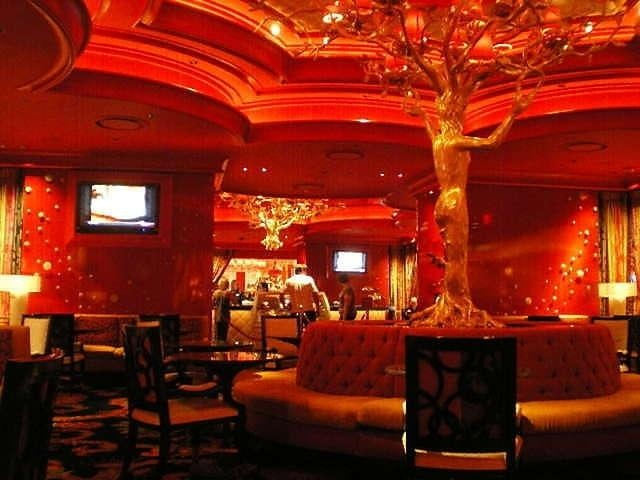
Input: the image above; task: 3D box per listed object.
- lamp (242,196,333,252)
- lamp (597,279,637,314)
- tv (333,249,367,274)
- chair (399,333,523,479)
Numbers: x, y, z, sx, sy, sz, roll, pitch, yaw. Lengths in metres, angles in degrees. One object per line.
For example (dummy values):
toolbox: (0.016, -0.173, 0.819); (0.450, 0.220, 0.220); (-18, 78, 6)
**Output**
lamp: (-0.745, -0.438, 13.438); (1.584, 1.235, 1.511); (1, -3, -19)
lamp: (5.434, 1.028, 10.215); (0.772, 0.608, 0.735); (3, -6, -24)
tv: (1.159, 0.806, 20.578); (1.504, 0.848, 0.312); (5, -8, -42)
chair: (0.760, 0.989, 3.664); (0.800, 1.051, 0.781); (0, -5, 4)
